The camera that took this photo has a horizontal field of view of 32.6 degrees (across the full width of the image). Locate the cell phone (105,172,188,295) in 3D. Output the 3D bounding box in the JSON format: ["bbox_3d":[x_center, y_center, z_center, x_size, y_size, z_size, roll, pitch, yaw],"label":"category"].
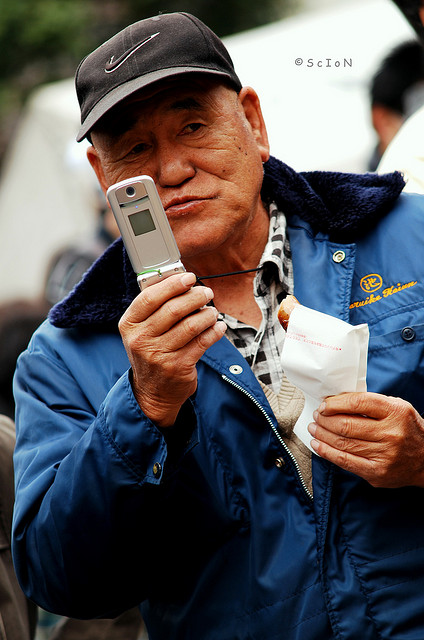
[{"bbox_3d":[-0.154,-0.185,1.578,0.122,0.227,0.160,-22,23,14],"label":"cell phone"}]
